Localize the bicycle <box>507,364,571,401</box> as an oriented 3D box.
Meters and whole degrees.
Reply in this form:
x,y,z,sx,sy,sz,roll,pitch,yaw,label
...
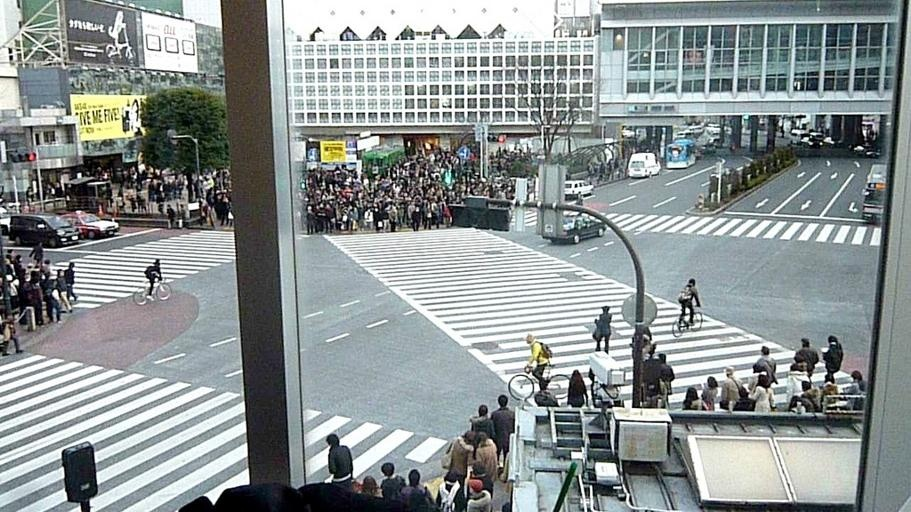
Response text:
x,y,z,sx,sy,sz,roll,pitch,yaw,label
2.245,3.463,20.983,1.674,0.682,0.920,8,58,12,bicycle
